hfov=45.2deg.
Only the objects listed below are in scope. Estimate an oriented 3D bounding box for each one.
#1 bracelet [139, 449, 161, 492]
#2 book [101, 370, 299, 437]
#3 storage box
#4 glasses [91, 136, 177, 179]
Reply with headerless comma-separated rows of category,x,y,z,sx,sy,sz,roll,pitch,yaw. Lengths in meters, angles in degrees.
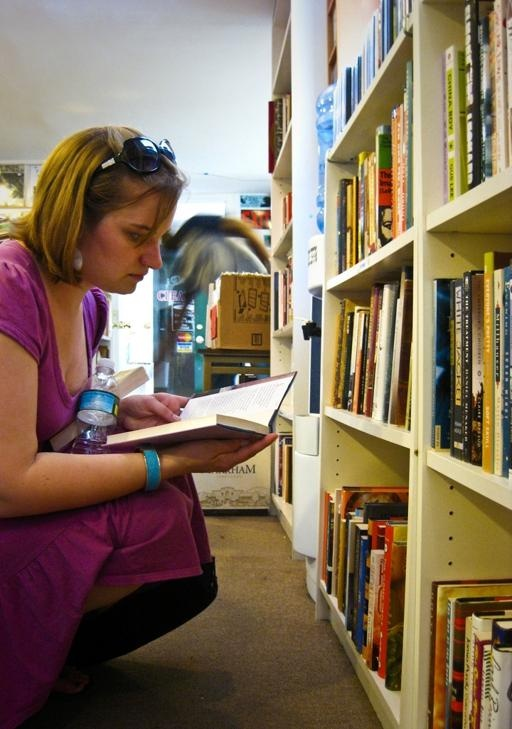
bracelet,-0.174,0.176,1.020,0.031,0.074,0.057,1,-2,-10
book,-0.050,0.081,1.111,0.187,0.080,0.171,-21,-5,37
storage box,-0.122,-0.165,3.573,0.362,0.499,0.662,1,3,-6
glasses,-0.203,-0.357,1.065,0.101,0.036,0.101,-21,4,27
